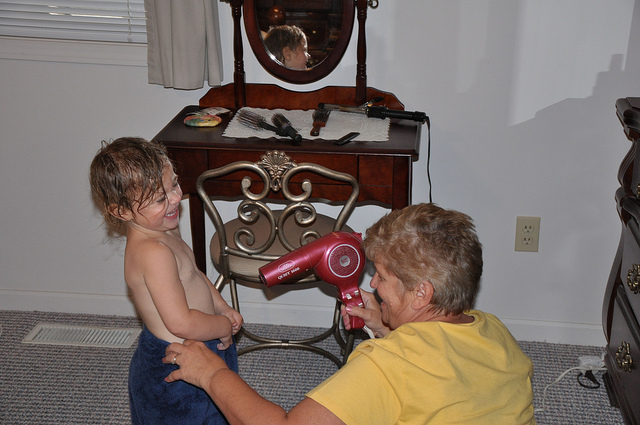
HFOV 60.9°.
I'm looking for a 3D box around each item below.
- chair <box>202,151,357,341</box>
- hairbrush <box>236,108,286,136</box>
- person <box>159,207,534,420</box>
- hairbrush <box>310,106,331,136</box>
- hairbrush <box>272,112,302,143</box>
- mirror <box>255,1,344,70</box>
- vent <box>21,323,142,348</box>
[{"bbox_3d":[-0.164,0.111,2.216,0.531,1.042,0.621,1,37,2],"label":"chair"},{"bbox_3d":[-0.258,-0.382,2.342,0.235,0.063,0.065,22,38,24],"label":"hairbrush"},{"bbox_3d":[0.173,0.272,1.603,0.781,0.659,0.605,7,-1,19],"label":"person"},{"bbox_3d":[-0.001,-0.397,2.356,0.051,0.043,0.204,3,29,9],"label":"hairbrush"},{"bbox_3d":[-0.141,-0.350,2.286,0.062,0.045,0.168,32,17,-49],"label":"hairbrush"},{"bbox_3d":[-0.084,-0.797,2.425,0.291,0.382,0.028,0,28,3],"label":"mirror"},{"bbox_3d":[-1.195,0.621,2.750,0.311,0.015,0.133,3,22,1],"label":"vent"}]
